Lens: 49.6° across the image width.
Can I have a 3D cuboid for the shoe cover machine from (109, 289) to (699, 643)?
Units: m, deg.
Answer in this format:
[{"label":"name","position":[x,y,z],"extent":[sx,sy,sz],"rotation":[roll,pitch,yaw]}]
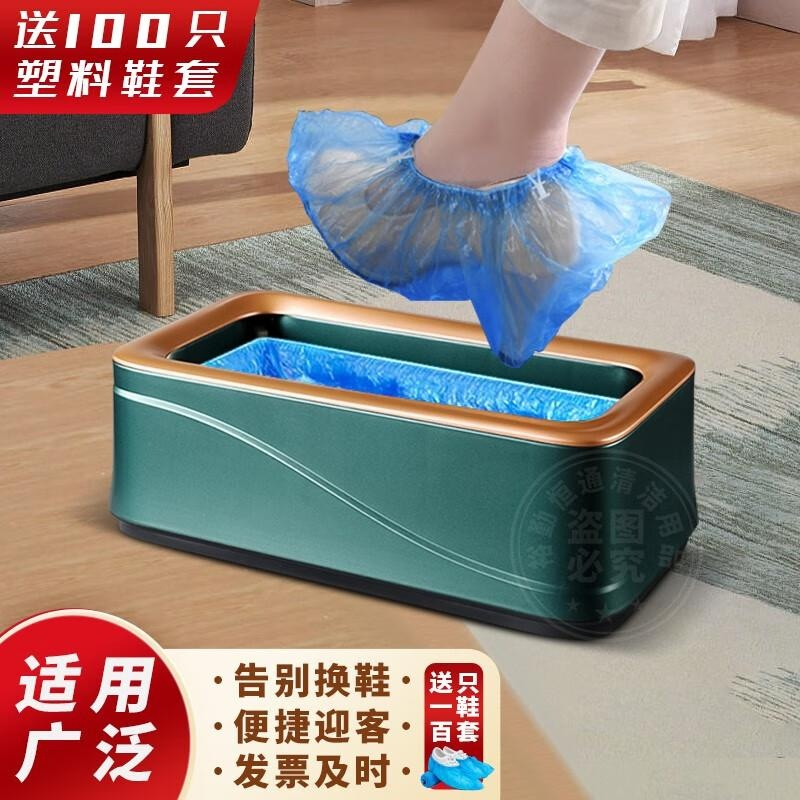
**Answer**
[{"label":"shoe cover machine","position":[0.006,0.031,0.683],"extent":[0.452,0.191,0.238],"rotation":[18,40,14]}]
